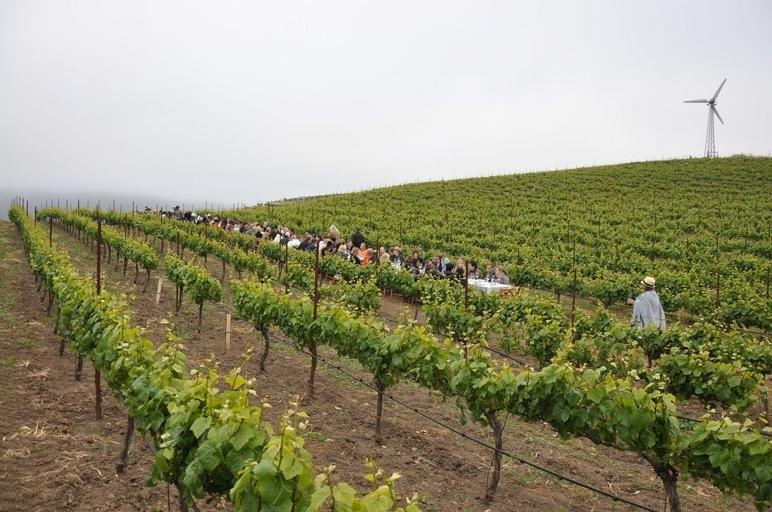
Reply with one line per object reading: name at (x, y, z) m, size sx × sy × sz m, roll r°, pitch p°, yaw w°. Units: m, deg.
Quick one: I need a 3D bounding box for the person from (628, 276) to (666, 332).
person at (6.342, 1.118, 13.740) m, size 0.686 × 1.222 × 0.724 m, roll 6°, pitch 7°, yaw 41°
